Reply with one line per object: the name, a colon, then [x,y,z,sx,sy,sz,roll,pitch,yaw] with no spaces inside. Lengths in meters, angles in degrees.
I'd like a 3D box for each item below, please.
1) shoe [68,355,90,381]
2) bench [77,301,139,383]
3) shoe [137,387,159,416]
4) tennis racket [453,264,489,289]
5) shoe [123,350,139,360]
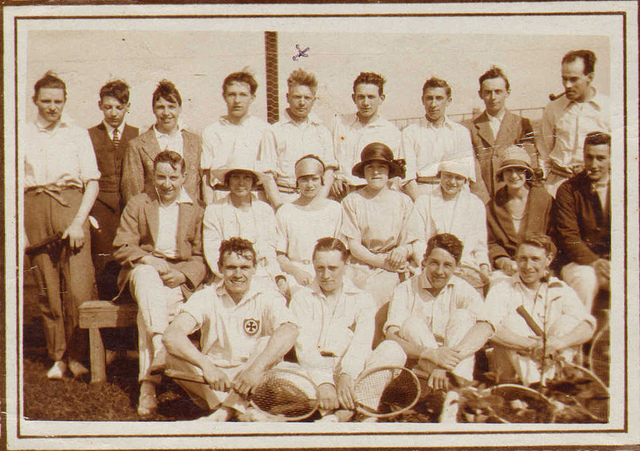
shoe: [-3.076,1.808,11.783,0.214,0.307,0.091,-36,-4,-2]
bench: [-2.868,1.436,12.207,0.952,1.059,1.156,0,-1,-3]
shoe: [-2.177,2.191,11.615,0.214,0.369,0.164,-3,5,-9]
tennis racket: [1.939,0.642,11.785,0.382,0.132,0.291,30,28,12]
shoe: [-2.388,1.617,11.654,0.193,0.120,0.029,1,9,8]
